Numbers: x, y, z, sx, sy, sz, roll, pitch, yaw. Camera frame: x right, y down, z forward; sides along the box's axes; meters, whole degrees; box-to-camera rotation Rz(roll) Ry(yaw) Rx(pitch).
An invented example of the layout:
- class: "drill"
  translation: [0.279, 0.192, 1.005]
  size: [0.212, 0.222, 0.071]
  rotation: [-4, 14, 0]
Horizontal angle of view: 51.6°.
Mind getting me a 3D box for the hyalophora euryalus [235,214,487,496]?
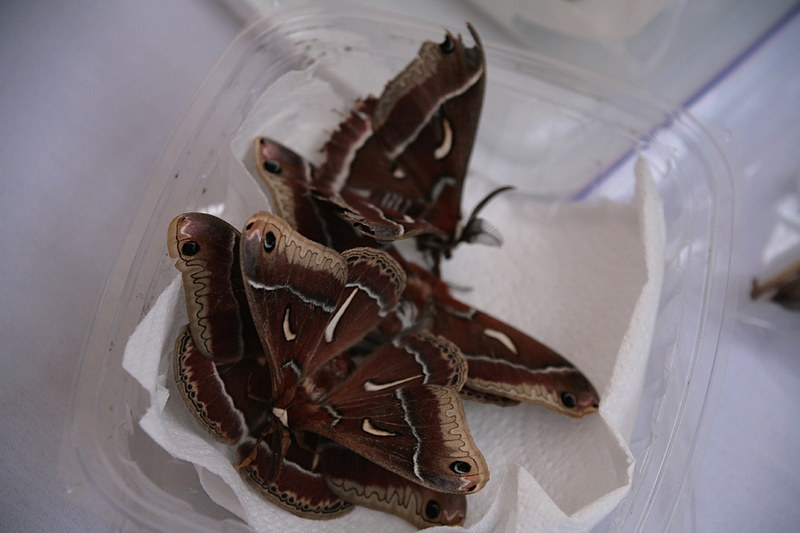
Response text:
- class: "hyalophora euryalus"
  translation: [-0.059, 0.158, 1.358]
  size: [0.359, 0.283, 0.432]
  rotation: [-7, 62, -6]
